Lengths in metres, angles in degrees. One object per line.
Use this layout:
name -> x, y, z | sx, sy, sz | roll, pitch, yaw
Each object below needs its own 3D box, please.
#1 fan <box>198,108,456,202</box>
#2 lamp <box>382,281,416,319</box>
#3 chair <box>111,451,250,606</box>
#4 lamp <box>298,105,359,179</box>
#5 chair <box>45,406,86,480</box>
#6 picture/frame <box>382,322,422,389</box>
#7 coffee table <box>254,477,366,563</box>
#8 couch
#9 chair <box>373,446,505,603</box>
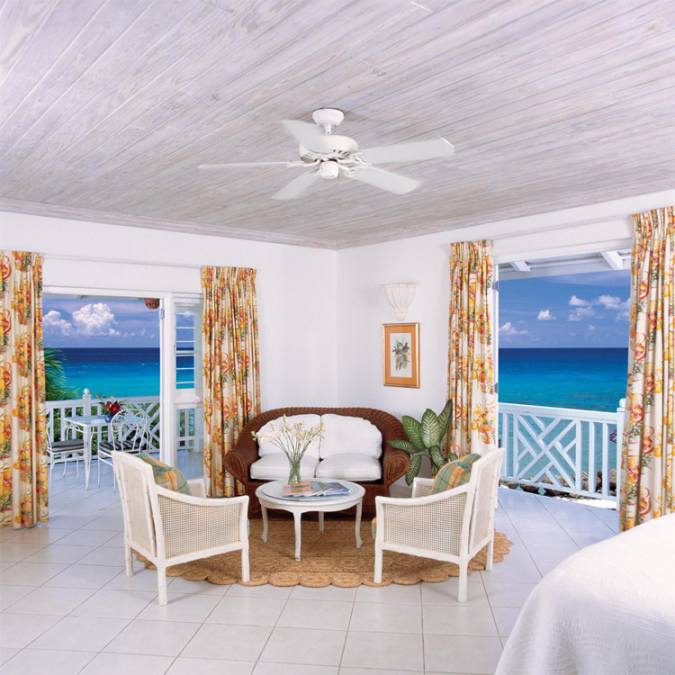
fan -> 0.059, -0.913, 2.995 | 0.752, 0.159, 0.624 | 3, -11, -21
lamp -> 0.630, -0.383, 6.082 | 0.445, 0.295, 0.384 | 0, -2, -6
chair -> -1.026, 1.210, 3.892 | 0.725, 0.695, 0.634 | 4, -11, -32
lamp -> -0.060, -1.017, 3.030 | 0.315, 0.262, 0.263 | -14, 34, -10
chair -> -3.361, 1.128, 7.303 | 0.422, 0.532, 0.364 | -5, -18, -5
picture/frame -> 0.675, 0.183, 6.193 | 0.065, 0.694, 0.480 | -1, 1, -39
coffee table -> -0.240, 1.294, 4.347 | 0.665, 0.291, 0.607 | 2, -8, -22
couch -> -0.184, 1.099, 5.624 | 1.733, 0.783, 0.844 | -1, -2, 2
chair -> 0.692, 1.187, 3.907 | 0.885, 0.674, 0.821 | -9, -4, 25
